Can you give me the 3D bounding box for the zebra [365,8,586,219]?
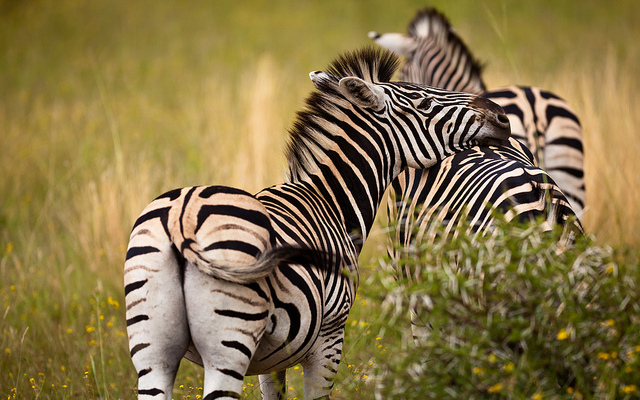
[{"bbox_3d":[1.639,-0.853,9.659,0.786,2.124,2.588,-27,42,-35],"label":"zebra"}]
